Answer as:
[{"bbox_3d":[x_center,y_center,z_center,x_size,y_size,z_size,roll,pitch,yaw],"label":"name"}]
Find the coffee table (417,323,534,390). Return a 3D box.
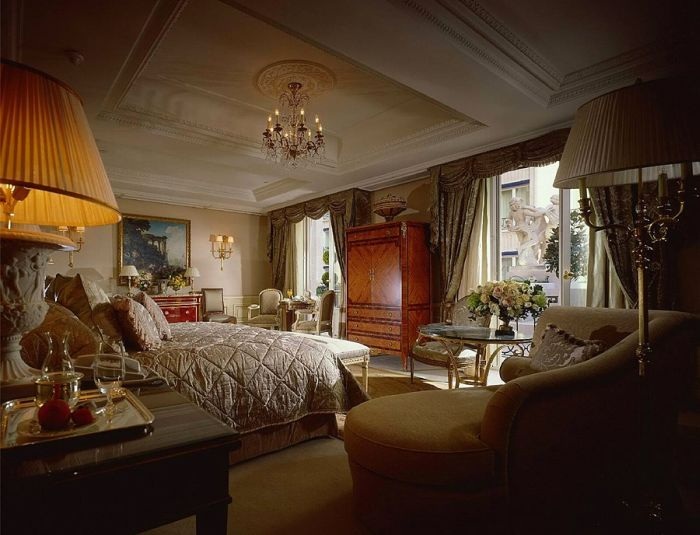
[{"bbox_3d":[1.102,0.714,4.305,0.921,0.621,0.885,4,-5,-40],"label":"coffee table"}]

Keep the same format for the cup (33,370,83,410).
[{"bbox_3d":[-1.134,0.465,1.860,0.140,0.115,0.150,3,5,0],"label":"cup"}]

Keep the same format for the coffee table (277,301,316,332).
[{"bbox_3d":[-0.886,0.753,7.898,0.594,0.684,0.632,-1,1,-12],"label":"coffee table"}]

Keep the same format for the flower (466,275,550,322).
[{"bbox_3d":[1.398,0.219,4.179,0.432,0.338,0.457,-1,0,-13],"label":"flower"}]

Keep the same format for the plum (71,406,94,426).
[{"bbox_3d":[-1.011,0.549,1.796,0.062,0.066,0.069,-5,-44,-26],"label":"plum"}]

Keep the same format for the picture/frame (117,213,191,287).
[{"bbox_3d":[-3.518,-0.279,8.412,1.178,1.491,0.088,5,-9,-44],"label":"picture/frame"}]

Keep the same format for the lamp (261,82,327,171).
[{"bbox_3d":[-0.652,-1.587,5.367,0.644,1.003,0.697,0,-15,3],"label":"lamp"}]

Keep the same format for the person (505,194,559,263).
[{"bbox_3d":[2.239,-0.393,6.056,0.718,0.882,0.627,-3,-7,33],"label":"person"}]

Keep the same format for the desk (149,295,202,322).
[{"bbox_3d":[-3.031,0.513,8.279,0.796,0.833,0.400,2,-4,-44],"label":"desk"}]

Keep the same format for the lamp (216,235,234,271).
[{"bbox_3d":[-2.460,-0.265,9.415,0.394,0.689,0.295,0,-1,-32],"label":"lamp"}]

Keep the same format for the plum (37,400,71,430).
[{"bbox_3d":[-1.075,0.545,1.753,0.102,0.114,0.102,14,-25,-26],"label":"plum"}]
